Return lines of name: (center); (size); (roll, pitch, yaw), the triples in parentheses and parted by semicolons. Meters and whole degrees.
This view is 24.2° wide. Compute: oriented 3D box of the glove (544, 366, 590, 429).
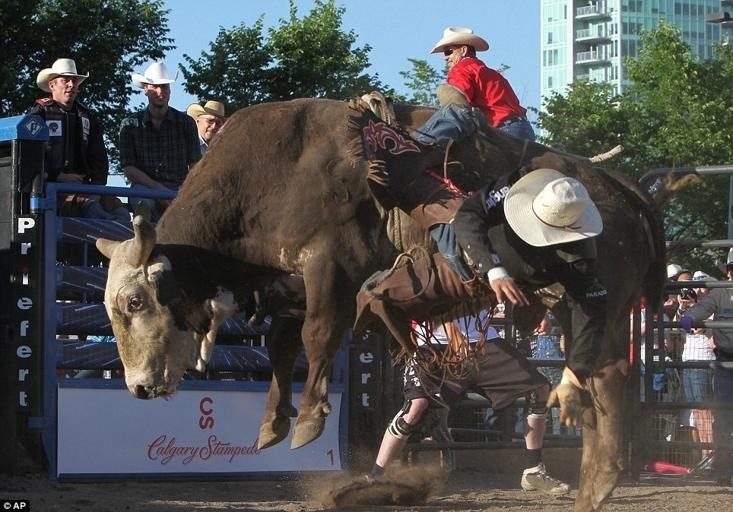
glove: (2.308, 1.686, 19.838); (0.527, 0.659, 0.197); (-12, 18, -13)

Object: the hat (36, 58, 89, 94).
hat: (-4.110, -2.412, 22.428); (0.643, 0.247, 0.696); (-1, -9, -35)

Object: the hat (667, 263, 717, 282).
hat: (4.570, 0.281, 24.046); (0.698, 0.271, 0.386); (5, -9, 25)
